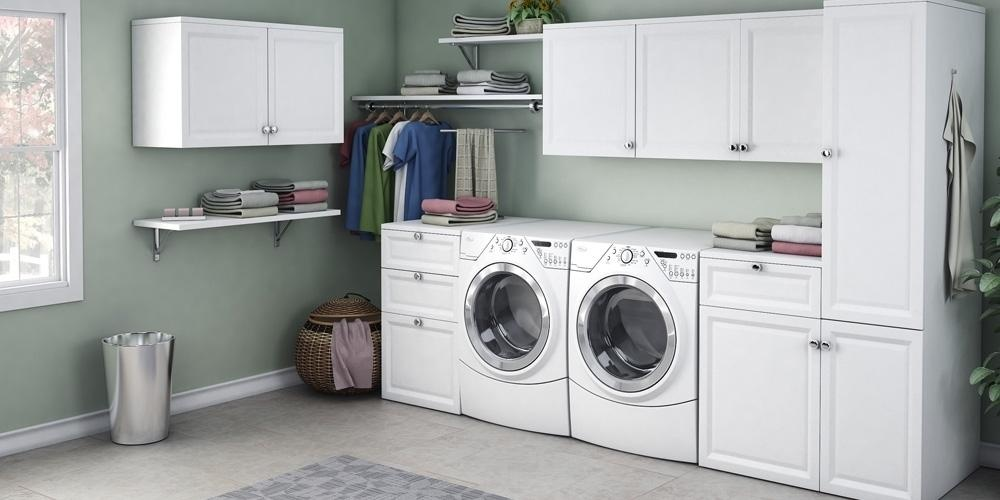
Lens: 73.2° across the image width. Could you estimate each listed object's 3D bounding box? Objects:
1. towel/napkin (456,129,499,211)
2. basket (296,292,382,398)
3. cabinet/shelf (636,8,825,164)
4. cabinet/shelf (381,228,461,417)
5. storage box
[{"bbox_3d":[-0.213,-0.805,6.235,0.364,0.635,0.231,0,11,-1],"label":"towel/napkin"},{"bbox_3d":[-1.547,0.869,6.308,0.959,0.721,0.880,-1,2,-28],"label":"basket"},{"bbox_3d":[1.752,-1.273,5.462,1.891,1.080,0.662,-7,13,-22],"label":"cabinet/shelf"},{"bbox_3d":[-0.680,0.592,5.893,0.859,1.594,0.211,5,12,22],"label":"cabinet/shelf"},{"bbox_3d":[-1.544,0.828,6.379,1.060,0.778,0.977,3,11,-31],"label":"storage box"}]
